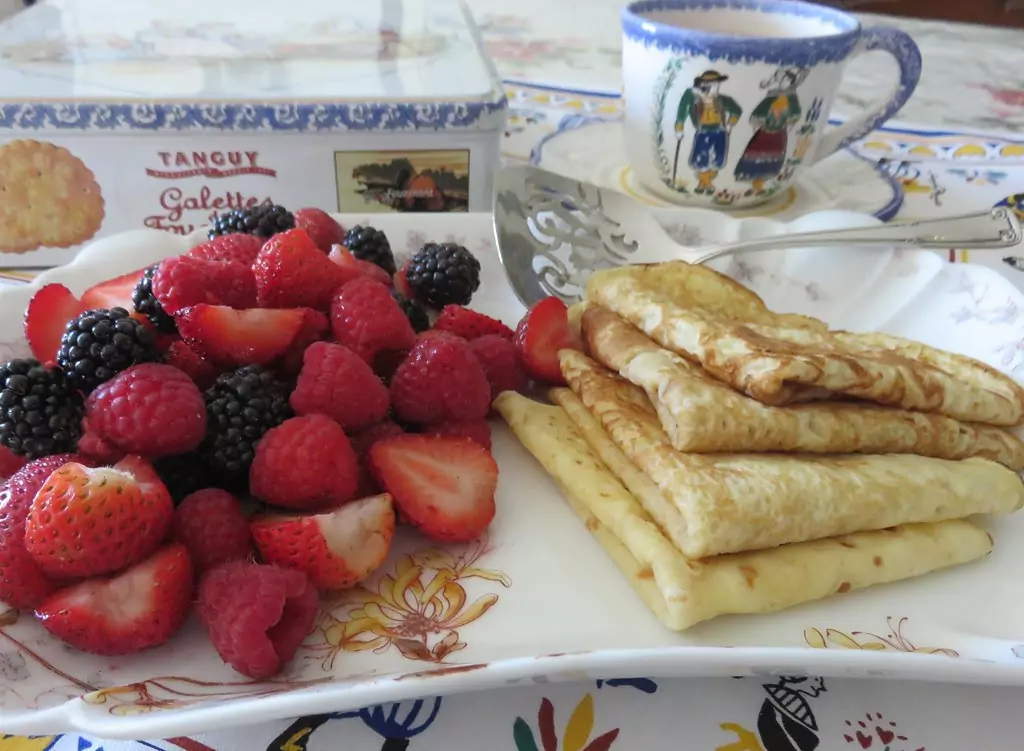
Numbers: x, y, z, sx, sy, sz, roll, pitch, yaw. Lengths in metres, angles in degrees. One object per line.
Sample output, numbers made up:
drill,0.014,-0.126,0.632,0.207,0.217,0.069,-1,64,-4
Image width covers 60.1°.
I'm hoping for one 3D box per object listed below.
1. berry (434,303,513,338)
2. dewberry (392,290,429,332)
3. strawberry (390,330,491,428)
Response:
berry,-0.073,-0.089,1.541,0.116,0.059,0.039,13,53,-6
dewberry,-0.172,-0.107,1.534,0.041,0.079,0.031,34,86,35
strawberry,-0.114,0.010,1.441,0.121,0.158,0.126,4,85,6
